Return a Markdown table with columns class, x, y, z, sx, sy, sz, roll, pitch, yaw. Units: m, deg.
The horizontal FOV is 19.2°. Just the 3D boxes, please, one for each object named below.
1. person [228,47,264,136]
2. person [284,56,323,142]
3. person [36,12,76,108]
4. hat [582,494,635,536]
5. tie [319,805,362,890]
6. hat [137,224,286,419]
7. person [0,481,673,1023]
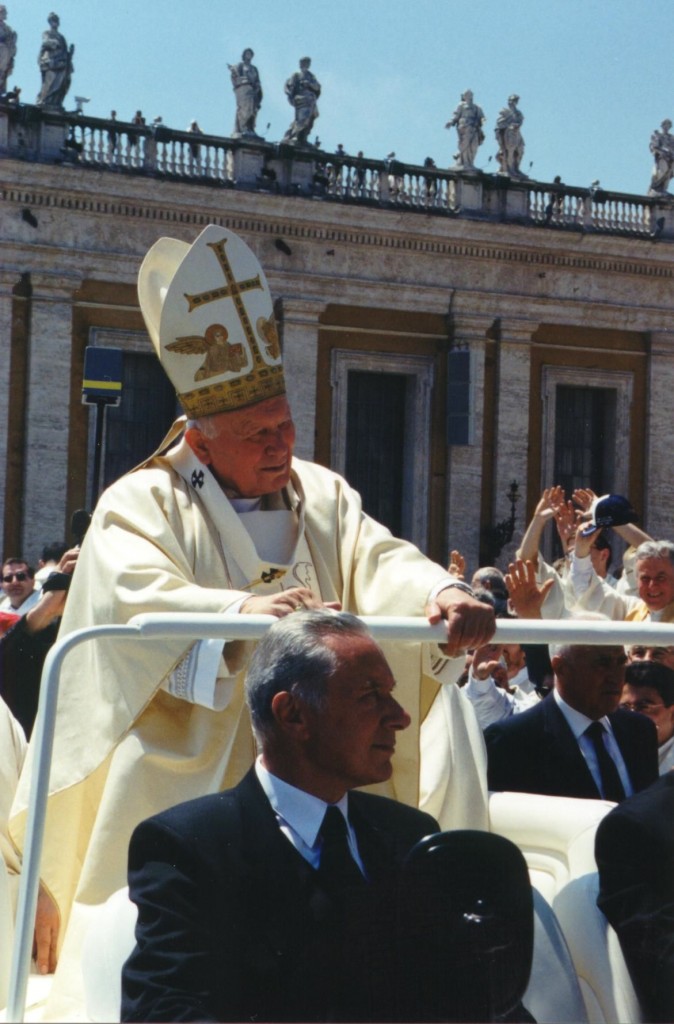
| class | x | y | z | sx | sy | sz | roll | pitch | yaw |
| --- | --- | --- | --- | --- | --- | --- | --- | --- | --- |
| person | -0.842 | -3.823 | 18.226 | 0.267 | 0.848 | 0.375 | 2 | 2 | -4 |
| person | -0.331 | -3.783 | 18.366 | 0.296 | 0.879 | 0.751 | 2 | 1 | -2 |
| person | -2.399 | -3.823 | 17.013 | 0.276 | 0.861 | 0.496 | 1 | 1 | -9 |
| hat | 1.006 | 0.019 | 7.646 | 0.128 | 0.113 | 0.197 | -11 | -5 | -31 |
| tie | 0.004 | 0.641 | 3.811 | 0.084 | 0.143 | 0.033 | 7 | -25 | -19 |
| hat | -0.323 | -0.501 | 5.095 | 0.382 | 0.500 | 0.115 | -19 | 18 | -32 |
| person | -0.198 | 0.500 | 4.355 | 1.325 | 1.120 | 1.620 | 2 | 1 | 1 |
